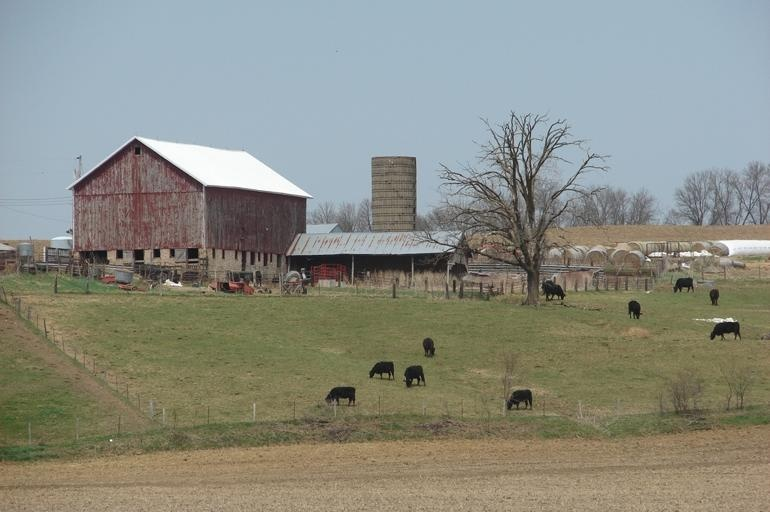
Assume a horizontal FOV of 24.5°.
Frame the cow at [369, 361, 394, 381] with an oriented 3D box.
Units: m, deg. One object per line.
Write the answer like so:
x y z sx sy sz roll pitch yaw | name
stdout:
-0.289 6.949 108.510 1.554 1.062 1.391 0 -2 2 | cow

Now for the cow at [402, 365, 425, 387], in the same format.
1.667 7.230 107.352 1.434 1.289 1.308 0 -2 -20 | cow

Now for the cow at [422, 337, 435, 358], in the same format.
2.695 5.824 113.042 0.765 1.166 1.726 0 -2 1 | cow

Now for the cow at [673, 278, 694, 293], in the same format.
23.414 2.359 140.843 1.540 1.138 3.143 0 -1 8 | cow

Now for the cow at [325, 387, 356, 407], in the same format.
-2.683 8.123 103.544 1.746 1.081 0.975 0 -2 -2 | cow
